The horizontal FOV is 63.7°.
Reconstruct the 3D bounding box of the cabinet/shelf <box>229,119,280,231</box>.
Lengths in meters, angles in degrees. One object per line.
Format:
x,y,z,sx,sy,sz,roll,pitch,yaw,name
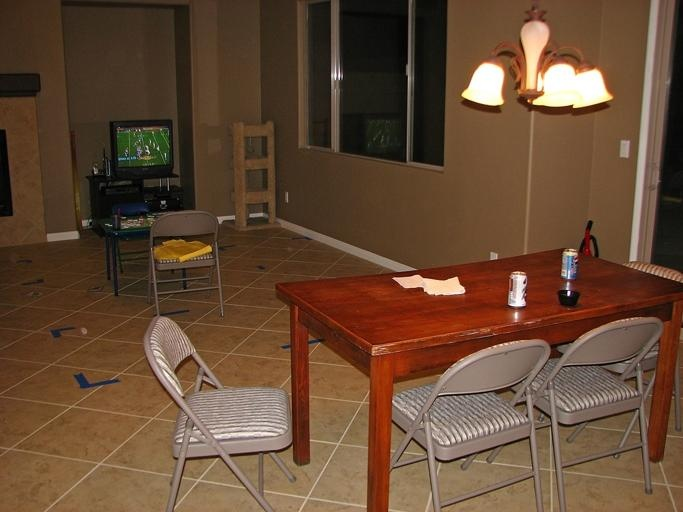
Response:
-1.343,-1.280,8.501,0.726,1.534,0.861,-6,16,-12,cabinet/shelf

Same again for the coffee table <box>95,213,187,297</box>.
-2.234,-0.080,5.776,0.501,0.505,0.547,-12,5,-38,coffee table

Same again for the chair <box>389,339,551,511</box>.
0.602,0.800,2.710,0.734,0.943,0.462,-8,17,-18,chair

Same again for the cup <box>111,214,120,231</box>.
-2.251,-0.342,5.509,0.071,0.129,0.174,-9,17,-21,cup

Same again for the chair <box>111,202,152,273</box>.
-2.322,-0.188,6.086,0.500,0.647,0.651,-6,25,-27,chair

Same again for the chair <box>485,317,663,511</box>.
1.221,0.840,2.891,0.542,1.079,0.715,-8,29,-7,chair

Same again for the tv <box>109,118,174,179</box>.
-2.763,-1.427,7.769,0.782,0.798,0.434,-5,-7,-14,tv

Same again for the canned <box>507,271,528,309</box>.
0.914,0.160,2.853,0.088,0.185,0.140,3,17,17,canned

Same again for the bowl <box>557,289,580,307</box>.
1.171,0.206,2.844,0.086,0.056,0.088,-1,17,0,bowl

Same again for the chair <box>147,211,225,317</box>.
-1.472,0.035,5.217,0.708,1.006,0.721,1,11,2,chair
